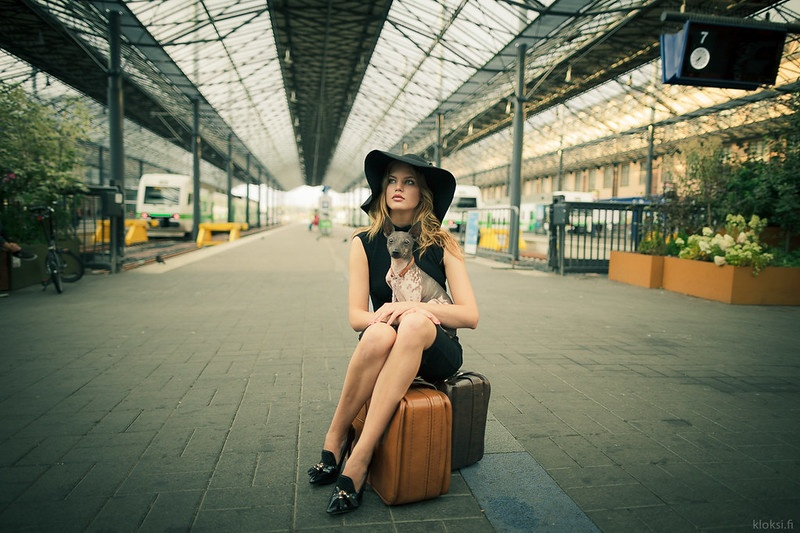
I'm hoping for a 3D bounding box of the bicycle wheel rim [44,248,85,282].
[{"bbox_3d":[-7.717,-0.062,16.068,0.914,0.792,0.342,2,19,1],"label":"bicycle wheel rim"}]
